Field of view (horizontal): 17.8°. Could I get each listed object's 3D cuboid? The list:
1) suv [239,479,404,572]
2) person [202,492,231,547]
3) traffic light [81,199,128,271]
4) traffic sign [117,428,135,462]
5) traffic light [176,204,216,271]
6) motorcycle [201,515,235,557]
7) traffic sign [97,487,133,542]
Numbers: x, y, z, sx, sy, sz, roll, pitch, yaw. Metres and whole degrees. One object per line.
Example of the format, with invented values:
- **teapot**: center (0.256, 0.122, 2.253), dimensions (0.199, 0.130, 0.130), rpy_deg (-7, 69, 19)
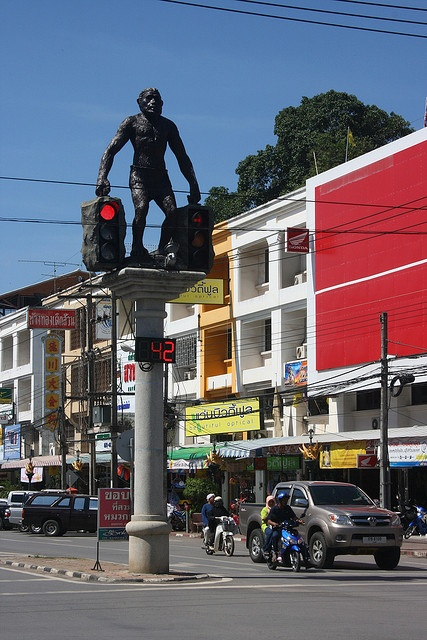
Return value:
- **suv**: center (2.037, 3.692, 24.810), dimensions (1.313, 1.476, 3.092), rpy_deg (4, -15, -25)
- **person**: center (-0.106, 4.511, 30.530), dimensions (0.508, 1.217, 0.518), rpy_deg (-8, -3, 38)
- **traffic light**: center (-1.668, -1.339, 20.718), dimensions (0.585, 1.078, 0.782), rpy_deg (0, -9, -15)
- **traffic sign**: center (-1.486, 2.083, 22.643), dimensions (0.091, 0.460, 0.407), rpy_deg (-6, 4, 26)
- **traffic light**: center (-0.323, -1.337, 21.934), dimensions (0.615, 1.312, 1.516), rpy_deg (-1, -9, -4)
- **motorcycle**: center (0.155, 4.763, 29.851), dimensions (0.416, 0.640, 1.003), rpy_deg (5, -20, -20)
- **traffic sign**: center (-1.655, 3.201, 22.578), dimensions (0.359, 0.997, 0.422), rpy_deg (0, -7, -39)
